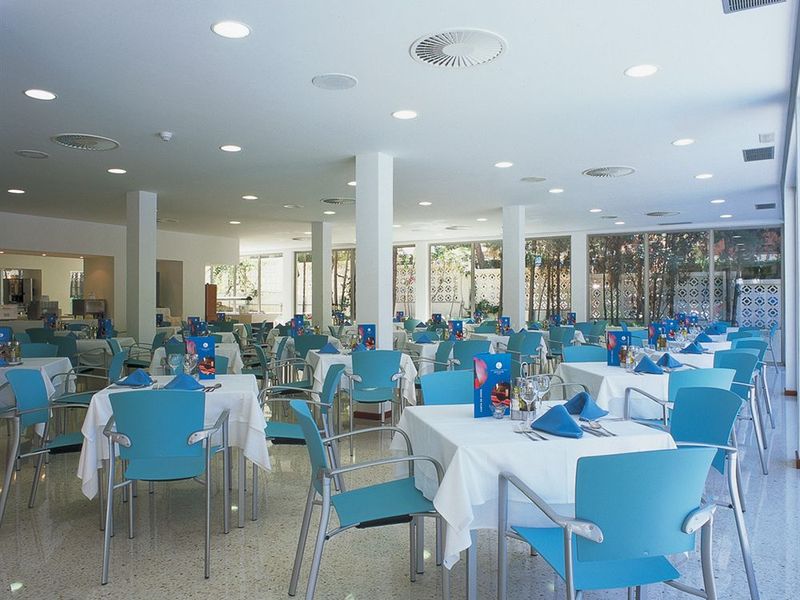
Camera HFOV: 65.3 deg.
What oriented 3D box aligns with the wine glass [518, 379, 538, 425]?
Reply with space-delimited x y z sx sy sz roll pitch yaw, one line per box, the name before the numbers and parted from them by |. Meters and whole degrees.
wine glass | 0.689 0.539 3.364 0.105 0.240 0.239 -1 0 10
